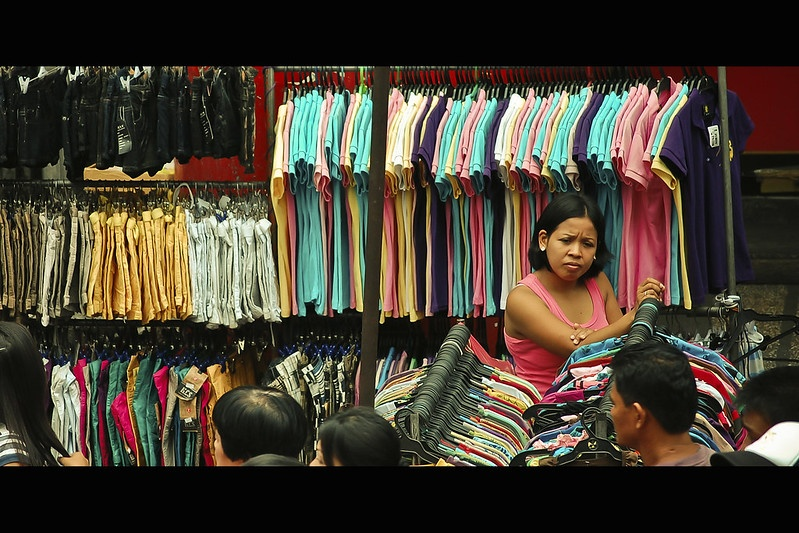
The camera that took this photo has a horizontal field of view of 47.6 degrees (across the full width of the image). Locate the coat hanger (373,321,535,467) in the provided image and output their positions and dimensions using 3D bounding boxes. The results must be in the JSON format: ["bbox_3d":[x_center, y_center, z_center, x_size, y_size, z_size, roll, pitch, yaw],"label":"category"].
[{"bbox_3d":[0.221,0.495,3.228,0.397,0.269,0.564,-21,18,15],"label":"coat hanger"}]

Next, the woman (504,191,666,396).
[{"bbox_3d":[0.789,0.300,4.088,0.551,1.210,0.592,-13,22,-21],"label":"woman"}]

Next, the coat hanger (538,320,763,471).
[{"bbox_3d":[0.929,0.425,3.246,0.440,0.648,0.228,-4,-31,22],"label":"coat hanger"}]

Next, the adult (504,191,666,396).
[{"bbox_3d":[0.803,0.291,4.116,0.623,1.217,0.591,-6,20,-5],"label":"adult"}]
